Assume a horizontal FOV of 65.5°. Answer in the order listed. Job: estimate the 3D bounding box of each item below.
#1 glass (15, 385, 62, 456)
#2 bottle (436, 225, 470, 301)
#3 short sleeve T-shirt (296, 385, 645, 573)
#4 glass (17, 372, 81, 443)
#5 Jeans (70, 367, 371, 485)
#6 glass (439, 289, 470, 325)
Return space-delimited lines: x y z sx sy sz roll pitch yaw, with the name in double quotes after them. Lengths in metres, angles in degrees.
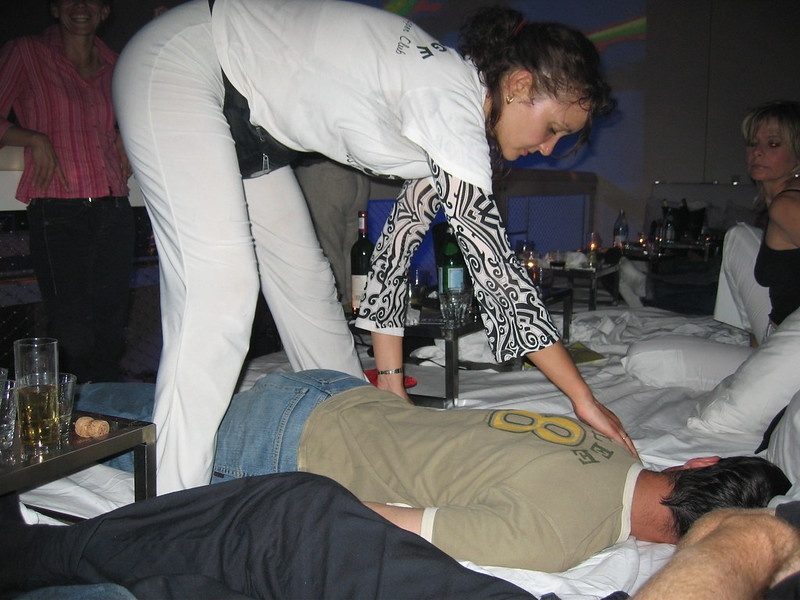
-0.743 0.240 1.301 0.086 0.154 0.087 -3 2 -21 "glass"
0.212 -0.152 2.621 0.083 0.335 0.082 1 -9 0 "bottle"
0.131 0.283 1.316 0.475 0.132 0.406 12 23 24 "short sleeve T-shirt"
-0.737 0.239 1.325 0.127 0.153 0.137 -7 -7 30 "glass"
-0.465 0.294 1.568 0.532 0.163 0.374 4 21 13 "Jeans"
0.221 0.039 2.418 0.135 0.150 0.145 0 8 4 "glass"
